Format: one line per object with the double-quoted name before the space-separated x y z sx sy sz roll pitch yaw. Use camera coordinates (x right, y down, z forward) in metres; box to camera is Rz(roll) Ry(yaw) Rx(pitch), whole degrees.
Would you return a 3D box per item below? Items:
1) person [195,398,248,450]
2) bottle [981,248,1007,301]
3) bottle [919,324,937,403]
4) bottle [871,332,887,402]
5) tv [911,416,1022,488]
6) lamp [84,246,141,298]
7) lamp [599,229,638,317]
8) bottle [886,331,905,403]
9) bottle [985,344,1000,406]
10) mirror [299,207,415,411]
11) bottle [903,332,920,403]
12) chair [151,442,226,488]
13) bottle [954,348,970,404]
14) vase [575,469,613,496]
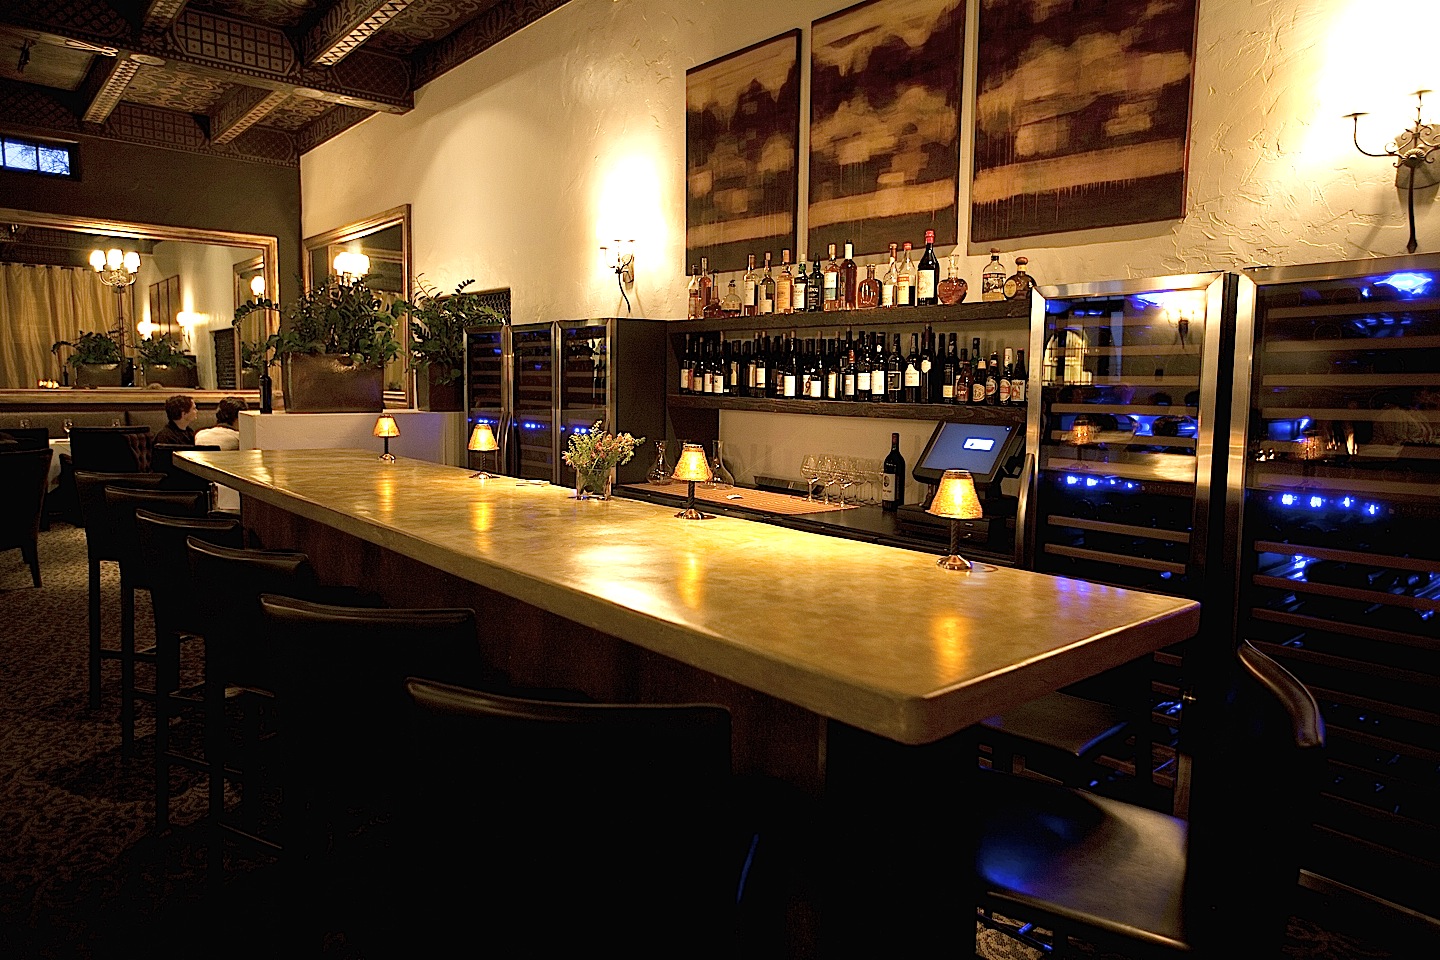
"person" -4.583 -0.505 8.897 0.377 0.420 1.024 -8 15 -28
"bottle" 1.471 -1.102 5.205 0.140 0.239 0.270 2 14 15
"bottle" 1.149 -0.659 5.359 0.093 0.379 0.399 2 13 11
"bottle" 0.873 -0.616 5.352 0.085 0.306 0.222 1 13 8
"tv" 1.239 -0.153 4.888 0.333 0.413 0.604 -3 6 -35
"lamp" -7.033 -2.458 11.347 0.427 0.448 0.429 1 5 -5
"lamp" -0.774 -1.568 7.458 0.138 0.552 0.446 -10 16 -33
"bottle" 0.981 -0.630 5.412 0.091 0.307 0.456 1 14 10
"bottle" 1.428 -0.546 5.084 0.061 0.210 0.423 3 14 15
"mirror" -3.808 -1.895 10.633 0.572 2.091 3.970 -9 16 -33
"bottle" 1.049 -0.566 5.308 0.097 0.226 0.237 1 13 11
"chair" -3.595 -0.102 6.591 0.389 0.476 0.384 -1 3 -40
"bottle" 1.282 -0.528 5.124 0.072 0.188 0.202 2 13 12
"vase" -0.559 0.014 4.407 0.128 0.097 0.129 0 4 5
